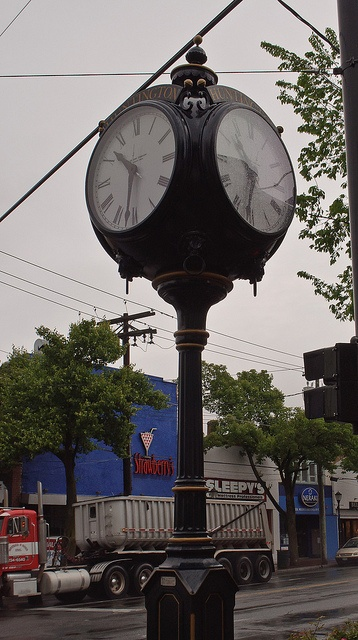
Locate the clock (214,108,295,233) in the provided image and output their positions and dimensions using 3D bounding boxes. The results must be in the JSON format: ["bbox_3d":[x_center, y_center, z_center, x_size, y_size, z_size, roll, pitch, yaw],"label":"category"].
[{"bbox_3d":[0.766,-1.565,11.469,1.202,1.343,0.090,9,-18,-44],"label":"clock"}]
